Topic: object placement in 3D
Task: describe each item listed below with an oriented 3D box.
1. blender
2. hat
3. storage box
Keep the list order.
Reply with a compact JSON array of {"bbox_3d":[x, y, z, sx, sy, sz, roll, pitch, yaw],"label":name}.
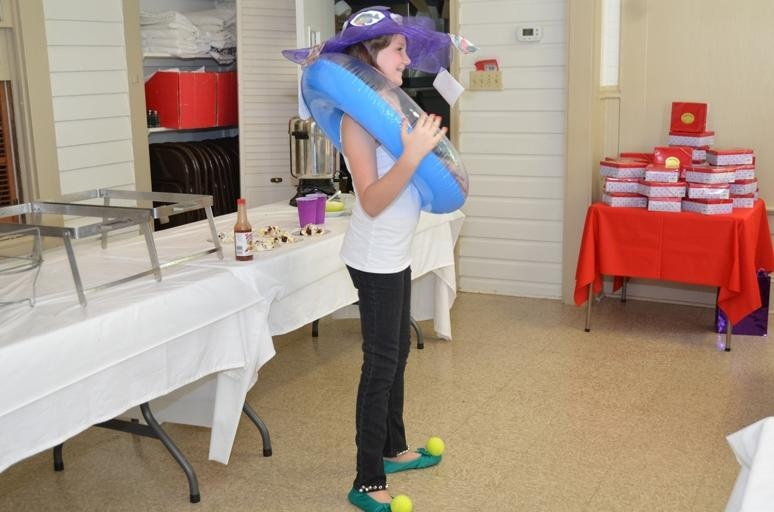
[{"bbox_3d":[-0.475,-0.610,3.564,0.315,0.576,0.340,12,23,24],"label":"blender"},{"bbox_3d":[0.005,-0.836,2.050,0.428,0.147,0.443,3,13,33],"label":"hat"},{"bbox_3d":[-1.795,-1.448,5.006,0.794,0.482,0.234,-12,20,-27],"label":"storage box"}]
